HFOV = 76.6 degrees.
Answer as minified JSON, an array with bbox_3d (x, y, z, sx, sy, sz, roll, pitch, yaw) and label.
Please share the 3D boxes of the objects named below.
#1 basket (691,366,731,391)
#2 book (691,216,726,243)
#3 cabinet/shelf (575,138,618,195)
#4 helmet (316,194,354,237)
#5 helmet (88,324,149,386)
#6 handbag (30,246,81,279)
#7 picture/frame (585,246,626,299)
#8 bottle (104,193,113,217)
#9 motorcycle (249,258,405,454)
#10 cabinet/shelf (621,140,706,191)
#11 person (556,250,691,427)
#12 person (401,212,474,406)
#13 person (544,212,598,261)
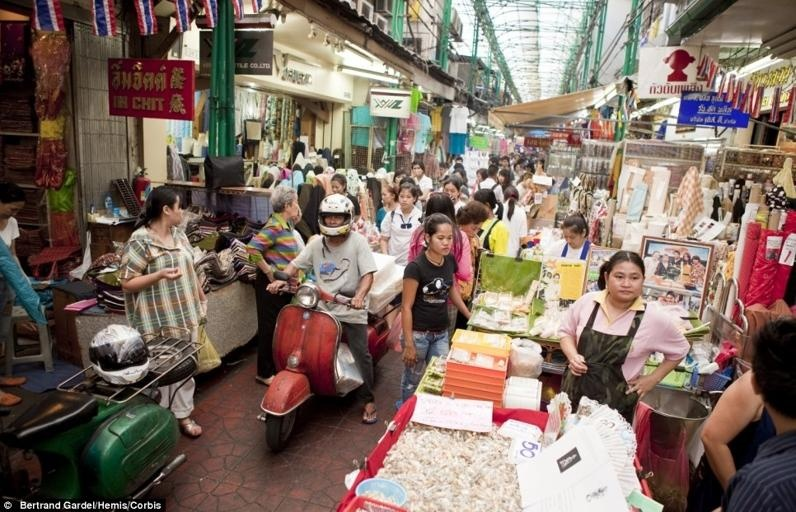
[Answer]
[{"bbox_3d":[2.987,1.174,4.845,0.221,0.261,0.278,1,13,8],"label":"basket"},{"bbox_3d":[3.734,-0.310,6.072,0.348,0.347,0.096,24,-16,46],"label":"book"},{"bbox_3d":[4.605,-2.046,11.708,1.106,0.534,1.546,7,19,21],"label":"cabinet/shelf"},{"bbox_3d":[-0.626,-0.428,5.201,0.307,0.337,0.416,2,12,5],"label":"helmet"},{"bbox_3d":[-2.075,0.738,3.871,0.473,0.390,0.368,12,15,41],"label":"helmet"},{"bbox_3d":[-4.767,0.097,7.032,0.375,0.386,0.600,16,18,41],"label":"handbag"},{"bbox_3d":[1.894,0.172,4.625,0.458,0.545,0.058,4,0,-6],"label":"picture/frame"},{"bbox_3d":[-4.177,-0.744,7.297,0.125,0.310,0.227,-5,16,-30],"label":"bottle"},{"bbox_3d":[-0.935,1.076,5.126,1.049,1.656,0.556,-8,18,-39],"label":"motorcycle"},{"bbox_3d":[4.434,-1.416,8.757,1.221,0.864,0.706,7,-12,7],"label":"cabinet/shelf"},{"bbox_3d":[1.784,0.665,4.055,0.925,1.363,0.399,9,14,20],"label":"person"},{"bbox_3d":[0.343,0.614,5.136,0.673,2.096,0.430,-2,15,-21],"label":"person"},{"bbox_3d":[2.396,-0.243,6.926,0.474,0.678,0.904,-16,21,-34],"label":"person"}]
